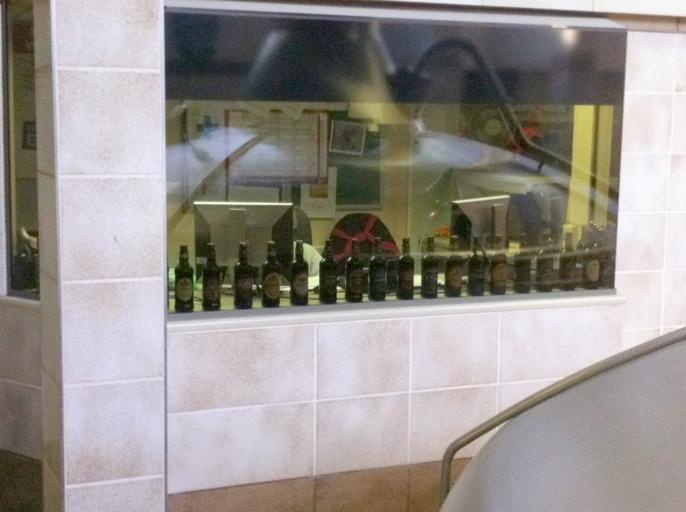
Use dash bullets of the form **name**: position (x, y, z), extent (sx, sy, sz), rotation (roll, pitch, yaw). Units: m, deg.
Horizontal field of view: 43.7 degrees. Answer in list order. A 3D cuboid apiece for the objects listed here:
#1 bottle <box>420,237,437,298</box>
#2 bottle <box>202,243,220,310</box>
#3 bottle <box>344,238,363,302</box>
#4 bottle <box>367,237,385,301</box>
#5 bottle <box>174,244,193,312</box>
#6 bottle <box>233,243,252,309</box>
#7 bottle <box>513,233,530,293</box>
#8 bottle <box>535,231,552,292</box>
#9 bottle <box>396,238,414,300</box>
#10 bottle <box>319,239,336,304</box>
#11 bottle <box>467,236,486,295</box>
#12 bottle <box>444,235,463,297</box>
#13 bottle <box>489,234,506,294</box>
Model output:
- **bottle**: position (0.320, 0.042, 3.111), extent (0.069, 0.214, 0.058), rotation (0, 4, -2)
- **bottle**: position (-0.452, 0.070, 2.917), extent (0.068, 0.223, 0.035), rotation (-1, 4, -20)
- **bottle**: position (0.042, 0.059, 3.048), extent (0.070, 0.203, 0.042), rotation (0, 4, -5)
- **bottle**: position (0.124, 0.047, 3.067), extent (0.064, 0.219, 0.043), rotation (0, 4, 0)
- **bottle**: position (-0.538, 0.077, 2.872), extent (0.067, 0.222, 0.031), rotation (-1, 4, -20)
- **bottle**: position (-0.344, 0.071, 2.950), extent (0.068, 0.220, 0.044), rotation (-1, 4, -15)
- **bottle**: position (0.672, 0.033, 3.192), extent (0.073, 0.205, 0.045), rotation (0, 4, -4)
- **bottle**: position (0.792, 0.024, 3.266), extent (0.077, 0.079, 0.275), rotation (-6, 45, 23)
- **bottle**: position (0.230, 0.045, 3.092), extent (0.063, 0.210, 0.053), rotation (0, 4, 4)
- **bottle**: position (-0.052, 0.056, 3.026), extent (0.062, 0.215, 0.043), rotation (0, 4, -2)
- **bottle**: position (0.496, 0.039, 3.151), extent (0.057, 0.204, 0.083), rotation (3, 5, 33)
- **bottle**: position (0.412, 0.036, 3.134), extent (0.067, 0.217, 0.065), rotation (0, 4, 0)
- **bottle**: position (0.580, 0.035, 3.169), extent (0.078, 0.208, 0.049), rotation (-1, 4, -15)
